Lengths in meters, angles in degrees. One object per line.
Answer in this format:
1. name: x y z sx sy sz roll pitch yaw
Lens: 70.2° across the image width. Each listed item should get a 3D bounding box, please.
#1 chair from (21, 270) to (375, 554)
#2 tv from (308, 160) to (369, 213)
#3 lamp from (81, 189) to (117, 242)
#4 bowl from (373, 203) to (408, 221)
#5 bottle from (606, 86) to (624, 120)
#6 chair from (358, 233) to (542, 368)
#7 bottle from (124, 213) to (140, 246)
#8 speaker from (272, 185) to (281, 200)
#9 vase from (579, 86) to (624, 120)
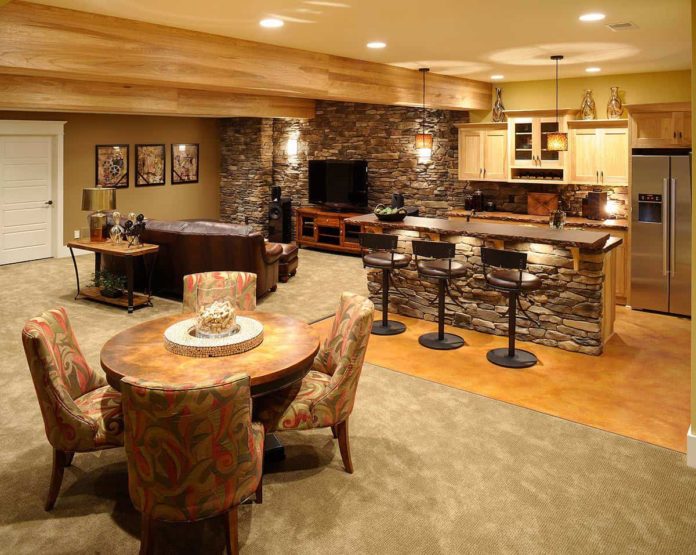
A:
1. chair: -0.878 0.639 3.114 1.869 1.220 0.784 -3 12 -13
2. tv: -0.226 -1.902 10.146 1.396 1.045 0.166 8 15 37
3. lamp: -3.427 -0.881 6.866 0.390 0.735 0.867 -6 12 -26
4. bowl: 0.533 -0.815 6.231 0.356 0.194 0.377 0 10 0
5. bottle: 3.869 -2.531 7.151 0.227 0.494 0.416 5 13 25
6. chair: 1.170 0.238 5.315 1.530 0.815 0.501 8 18 35
7. bottle: -2.921 -0.670 6.736 0.250 0.431 0.415 -5 12 -23
8. speaker: -1.545 -1.820 10.677 0.188 0.315 0.418 -3 11 -12
9. vase: 3.758 -2.582 7.284 0.736 0.506 0.276 4 9 40
